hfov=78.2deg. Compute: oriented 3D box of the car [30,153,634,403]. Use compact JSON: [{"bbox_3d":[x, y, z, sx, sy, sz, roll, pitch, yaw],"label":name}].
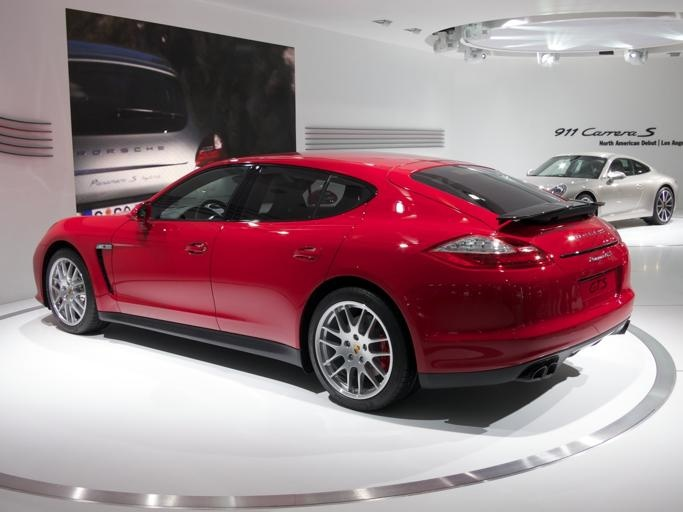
[{"bbox_3d":[-0.629,0.081,3.444,4.578,0.949,1.919,5,9,28],"label":"car"}]
